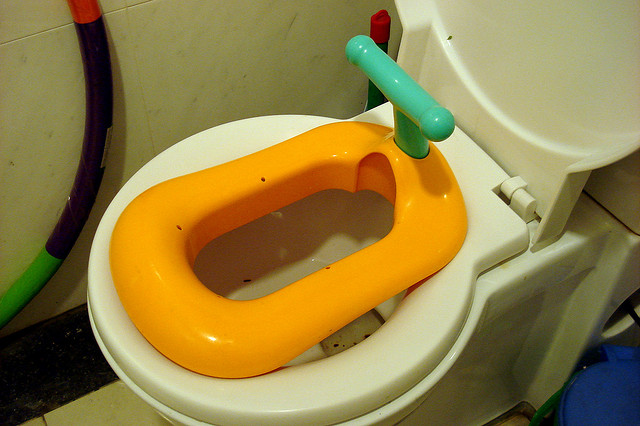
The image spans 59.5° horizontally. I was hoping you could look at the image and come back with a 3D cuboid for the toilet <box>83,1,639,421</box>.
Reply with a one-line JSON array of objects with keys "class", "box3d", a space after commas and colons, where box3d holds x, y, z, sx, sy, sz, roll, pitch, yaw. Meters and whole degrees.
[{"class": "toilet", "box3d": [0.084, 0.003, 0.937, 0.639, 0.650, 0.421, -24, 57, -20]}]
